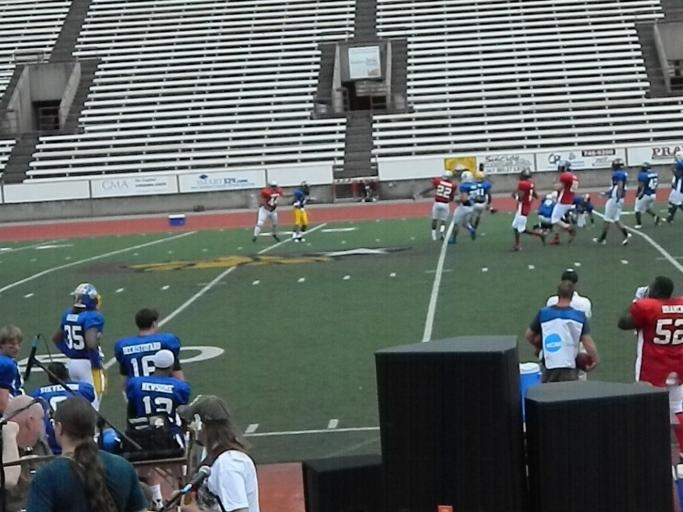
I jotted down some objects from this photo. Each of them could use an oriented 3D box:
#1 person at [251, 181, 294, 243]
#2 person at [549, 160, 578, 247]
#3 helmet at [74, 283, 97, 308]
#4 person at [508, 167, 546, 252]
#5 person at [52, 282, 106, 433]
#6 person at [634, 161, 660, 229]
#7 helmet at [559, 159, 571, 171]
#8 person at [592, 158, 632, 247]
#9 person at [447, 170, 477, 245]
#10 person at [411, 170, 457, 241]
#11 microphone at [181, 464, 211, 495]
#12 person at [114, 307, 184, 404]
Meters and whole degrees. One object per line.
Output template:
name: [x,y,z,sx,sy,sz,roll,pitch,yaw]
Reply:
person: [-2.161,-1.395,39.485,0.767,1.830,1.161,8,8,14]
person: [6.085,-1.545,36.290,0.743,2.403,0.587,8,13,43]
helmet: [-5.468,0.796,28.604,0.451,0.501,0.472,5,10,10]
person: [5.103,-1.217,36.165,0.755,2.195,1.005,-3,8,-45]
person: [-5.689,2.040,28.783,0.869,2.823,1.041,-1,10,-24]
person: [8.639,-1.728,37.392,0.647,1.896,0.831,-5,13,-22]
helmet: [6.061,-2.481,35.927,0.280,0.279,0.608,-1,-1,4]
person: [7.394,-1.491,36.282,0.938,2.368,1.236,-1,-1,10]
person: [3.443,-1.441,37.720,0.751,2.094,0.910,-1,-1,4]
person: [2.927,-1.475,38.126,0.602,2.079,1.362,8,12,-20]
microphone: [-2.766,4.266,25.330,0.239,0.280,1.013,-8,9,14]
person: [-4.131,2.027,28.040,1.080,1.936,1.035,1,7,-9]
